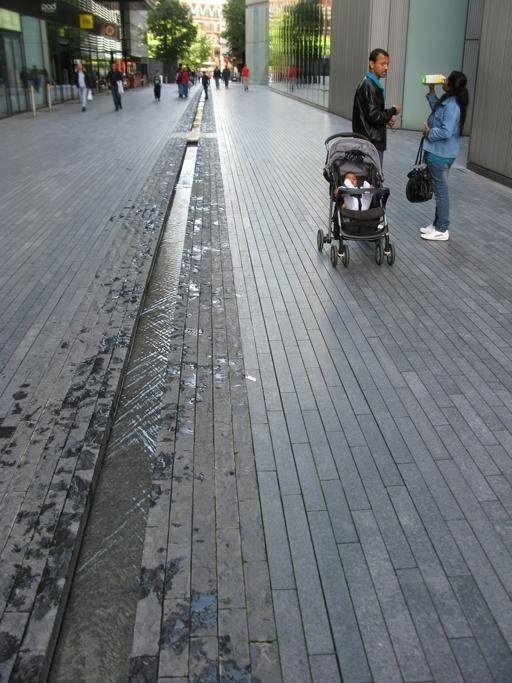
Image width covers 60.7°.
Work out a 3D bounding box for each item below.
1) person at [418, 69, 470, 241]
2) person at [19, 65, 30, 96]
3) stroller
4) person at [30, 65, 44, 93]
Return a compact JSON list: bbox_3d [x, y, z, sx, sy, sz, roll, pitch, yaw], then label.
[{"bbox_3d":[2.686,-2.626,6.443,0.630,2.312,0.517,-17,28,-34],"label":"person"},{"bbox_3d":[-13.429,-15.262,25.474,0.314,1.231,1.312,-4,25,-8],"label":"person"},{"bbox_3d":[1.389,-1.978,6.102,1.041,1.639,1.294,3,25,8],"label":"stroller"},{"bbox_3d":[-13.594,-16.272,27.243,0.455,1.354,2.336,-7,27,-15],"label":"person"}]
